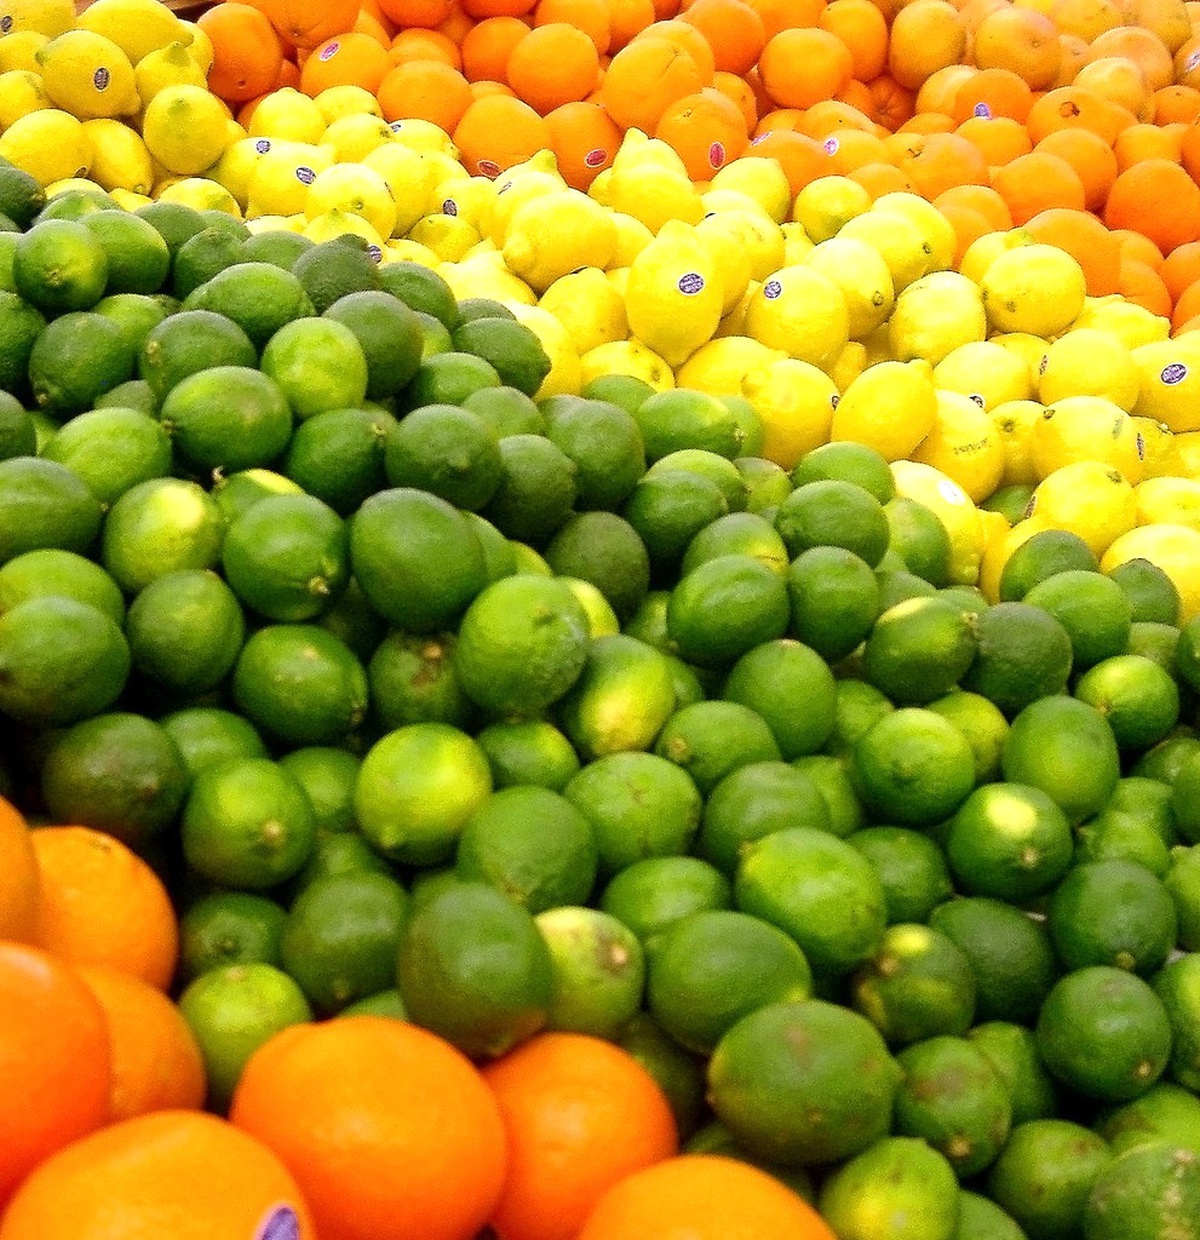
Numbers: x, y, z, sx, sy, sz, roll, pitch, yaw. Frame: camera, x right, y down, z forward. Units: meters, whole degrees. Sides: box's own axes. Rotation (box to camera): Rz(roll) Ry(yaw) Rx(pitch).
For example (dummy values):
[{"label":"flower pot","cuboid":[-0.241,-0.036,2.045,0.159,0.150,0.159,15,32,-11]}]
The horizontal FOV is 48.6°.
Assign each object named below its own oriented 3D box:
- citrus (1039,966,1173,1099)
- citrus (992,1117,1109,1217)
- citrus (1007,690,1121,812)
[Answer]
[{"label":"citrus","cuboid":[0.792,0.647,2.145,0.165,0.172,0.213,7,23,4]},{"label":"citrus","cuboid":[0.678,0.851,1.971,0.153,0.140,0.172,36,49,-30]},{"label":"citrus","cuboid":[0.858,0.239,2.612,0.210,0.200,0.268,4,91,5]}]
